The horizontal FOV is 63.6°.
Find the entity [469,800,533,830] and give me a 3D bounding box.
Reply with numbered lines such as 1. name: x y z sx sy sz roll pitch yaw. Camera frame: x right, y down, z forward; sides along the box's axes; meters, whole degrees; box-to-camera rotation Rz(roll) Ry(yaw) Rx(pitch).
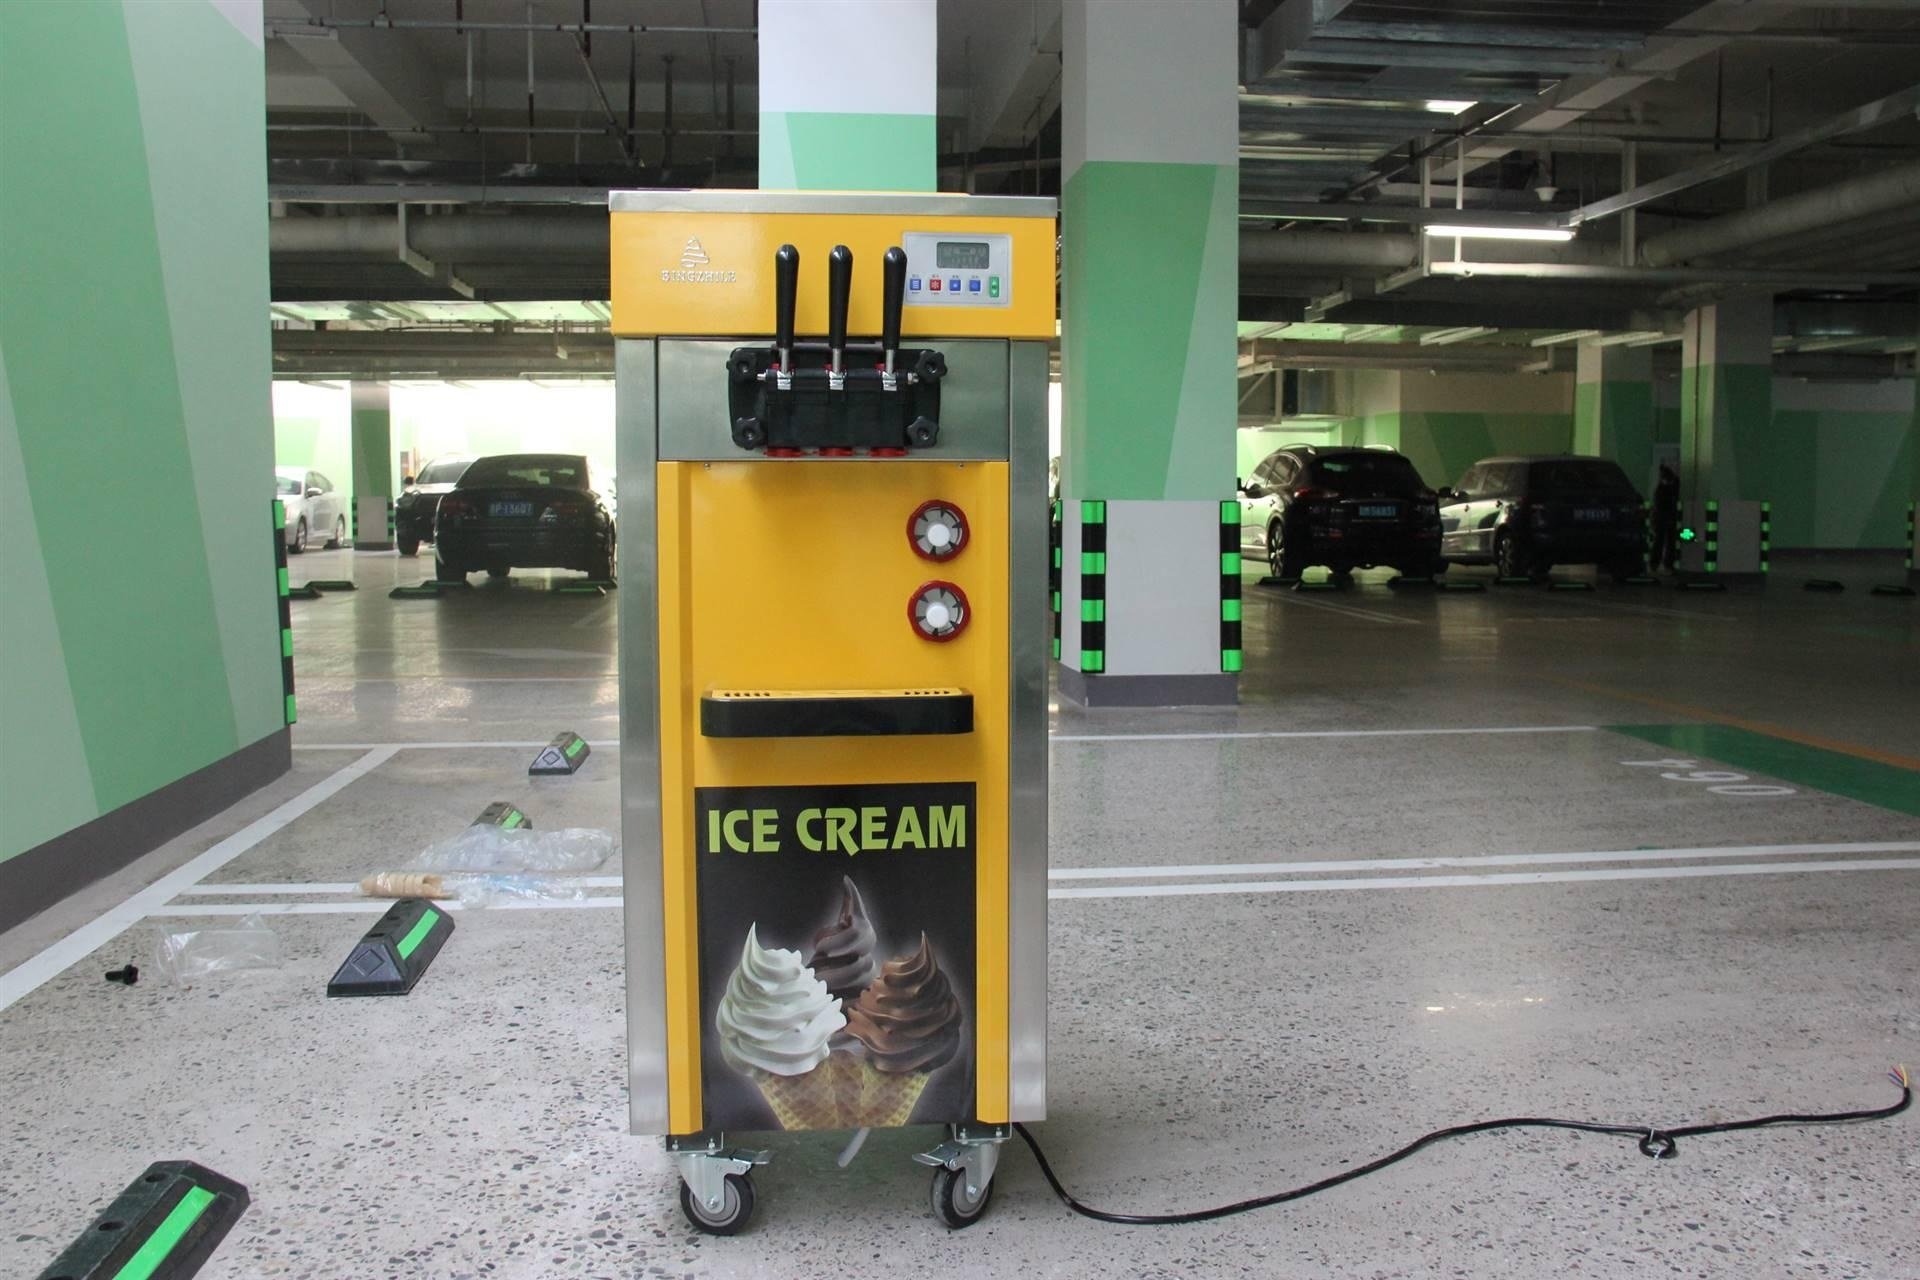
1. entity: -2.213 0.886 7.516 0.259 0.136 0.378 -5 12 -16

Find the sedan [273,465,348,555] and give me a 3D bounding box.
1. sedan: -11.971 -2.349 28.571 0.474 1.641 2.705 -3 12 -10

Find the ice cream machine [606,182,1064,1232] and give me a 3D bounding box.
1. ice cream machine: -0.368 0.238 4.708 1.340 3.127 0.557 -1 11 3

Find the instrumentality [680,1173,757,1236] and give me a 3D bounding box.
1. instrumentality: -0.744 1.733 4.756 0.167 0.166 0.095 10 -3 4

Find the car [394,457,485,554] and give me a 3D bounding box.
1. car: -7.872 -1.986 22.564 1.062 0.892 2.321 1 8 -3

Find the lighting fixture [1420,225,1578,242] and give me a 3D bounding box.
1. lighting fixture: 5.997 -4.540 17.318 0.963 0.101 0.232 3 -12 -11

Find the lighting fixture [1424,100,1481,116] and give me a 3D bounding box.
1. lighting fixture: 3.700 -4.043 11.768 0.299 0.076 0.322 2 7 25
